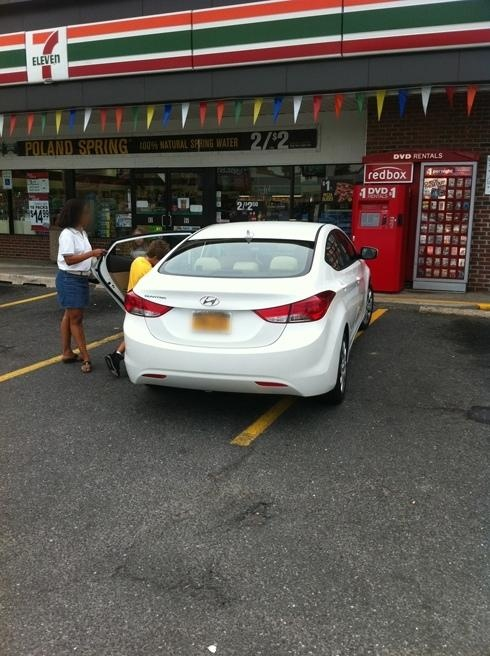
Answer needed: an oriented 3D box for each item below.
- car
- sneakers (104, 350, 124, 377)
[{"bbox_3d":[0.208,-0.391,4.240,1.274,0.959,2.259,4,22,16],"label":"car"},{"bbox_3d":[-1.435,0.391,5.128,0.161,0.236,0.079,-24,21,-4],"label":"sneakers"}]
